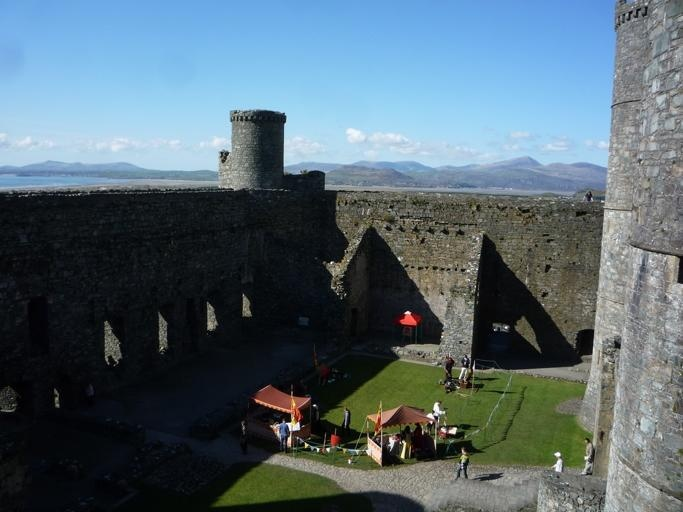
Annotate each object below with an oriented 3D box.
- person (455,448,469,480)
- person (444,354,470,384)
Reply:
[{"bbox_3d":[4.335,7.148,19.995,0.429,0.982,1.541,4,11,14],"label":"person"},{"bbox_3d":[5.775,5.731,28.098,1.260,1.307,0.369,2,-8,-7],"label":"person"}]
